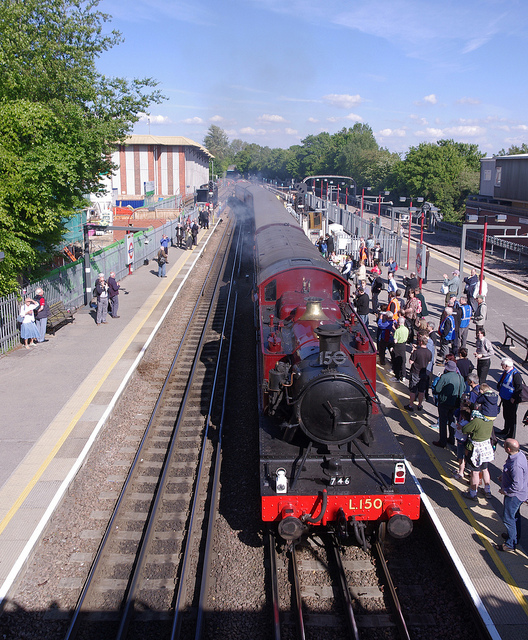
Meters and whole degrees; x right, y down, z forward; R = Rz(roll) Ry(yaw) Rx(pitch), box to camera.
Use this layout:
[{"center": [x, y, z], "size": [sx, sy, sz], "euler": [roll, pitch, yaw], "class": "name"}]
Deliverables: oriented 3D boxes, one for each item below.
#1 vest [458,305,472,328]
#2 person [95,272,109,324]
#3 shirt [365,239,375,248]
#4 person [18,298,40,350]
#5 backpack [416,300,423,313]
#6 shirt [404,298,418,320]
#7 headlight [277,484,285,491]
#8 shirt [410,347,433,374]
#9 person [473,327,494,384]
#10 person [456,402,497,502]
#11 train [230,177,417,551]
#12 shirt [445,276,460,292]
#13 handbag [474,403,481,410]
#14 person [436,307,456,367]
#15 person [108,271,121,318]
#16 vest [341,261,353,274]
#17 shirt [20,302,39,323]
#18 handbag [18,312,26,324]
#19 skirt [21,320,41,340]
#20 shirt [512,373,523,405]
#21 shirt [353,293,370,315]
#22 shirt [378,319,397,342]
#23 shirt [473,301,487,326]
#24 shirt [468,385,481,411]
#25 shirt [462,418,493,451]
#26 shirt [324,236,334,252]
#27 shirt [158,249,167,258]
[{"center": [5.821, -0.093, 14.260], "size": [0.353, 0.651, 0.293], "euler": [-1, 11, 0], "class": "vest"}, {"center": [-5.837, -0.732, 17.813], "size": [0.516, 1.813, 0.451], "euler": [-7, 12, -31], "class": "person"}, {"center": [5.418, -3.874, 25.247], "size": [0.425, 0.267, 0.665], "euler": [-1, 20, 3], "class": "shirt"}, {"center": [-7.189, 0.146, 15.118], "size": [0.567, 1.537, 0.456], "euler": [-7, 12, -30], "class": "person"}, {"center": [4.546, -0.387, 14.456], "size": [0.057, 0.322, 0.290], "euler": [7, -1, 3], "class": "backpack"}, {"center": [4.276, -0.254, 14.179], "size": [0.389, 0.304, 0.768], "euler": [-6, 45, 19], "class": "shirt"}, {"center": [0.206, 2.057, 6.072], "size": [0.080, 0.103, 0.033], "euler": [2, 1, -8], "class": "headlight"}, {"center": [3.367, 0.882, 10.512], "size": [0.417, 0.601, 0.313], "euler": [1, 23, -10], "class": "shirt"}, {"center": [5.310, 0.971, 12.019], "size": [0.382, 1.608, 0.507], "euler": [-12, 19, -10], "class": "person"}, {"center": [3.296, 2.073, 7.678], "size": [0.494, 1.492, 0.591], "euler": [5, 12, 30], "class": "person"}, {"center": [0.697, -0.701, 12.122], "size": [1.428, 2.553, 13.430], "euler": [-1, 21, -2], "class": "train"}, {"center": [6.397, -1.225, 16.684], "size": [0.401, 0.473, 0.918], "euler": [3, 13, 20], "class": "shirt"}, {"center": [3.322, 1.352, 7.650], "size": [0.059, 0.086, 0.086], "euler": [-2, 18, 3], "class": "handbag"}, {"center": [5.037, 0.461, 13.641], "size": [0.461, 1.649, 0.508], "euler": [14, 19, 42], "class": "person"}, {"center": [-5.640, -0.898, 18.421], "size": [0.401, 1.781, 0.962], "euler": [-5, 11, -18], "class": "person"}, {"center": [3.341, -2.157, 19.687], "size": [0.362, 0.627, 0.203], "euler": [5, -8, 23], "class": "vest"}, {"center": [-7.142, -0.198, 15.001], "size": [0.515, 0.579, 0.301], "euler": [-8, 13, -32], "class": "shirt"}, {"center": [-7.448, -0.029, 15.077], "size": [0.209, 0.421, 0.273], "euler": [-6, 29, -45], "class": "handbag"}, {"center": [-7.176, 0.346, 15.139], "size": [0.521, 0.637, 0.379], "euler": [-5, 13, -35], "class": "skirt"}, {"center": [4.630, 1.271, 8.997], "size": [0.130, 0.468, 0.292], "euler": [4, -1, -7], "class": "shirt"}, {"center": [2.900, -0.478, 14.728], "size": [0.409, 0.700, 0.555], "euler": [7, 29, 15], "class": "shirt"}, {"center": [3.342, 0.190, 13.433], "size": [0.426, 0.747, 0.596], "euler": [11, 29, 16], "class": "shirt"}, {"center": [6.778, -0.214, 15.497], "size": [0.308, 0.731, 0.527], "euler": [6, 18, 17], "class": "shirt"}, {"center": [3.515, 1.309, 8.236], "size": [0.198, 0.422, 0.100], "euler": [14, 5, -39], "class": "shirt"}, {"center": [3.242, 1.721, 7.438], "size": [0.369, 0.433, 0.228], "euler": [-4, 32, -10], "class": "shirt"}, {"center": [3.233, -3.791, 24.585], "size": [0.485, 1.004, 0.726], "euler": [4, 25, 4], "class": "shirt"}, {"center": [-5.260, -3.365, 25.362], "size": [0.416, 0.409, 0.570], "euler": [-4, 12, -13], "class": "shirt"}]
